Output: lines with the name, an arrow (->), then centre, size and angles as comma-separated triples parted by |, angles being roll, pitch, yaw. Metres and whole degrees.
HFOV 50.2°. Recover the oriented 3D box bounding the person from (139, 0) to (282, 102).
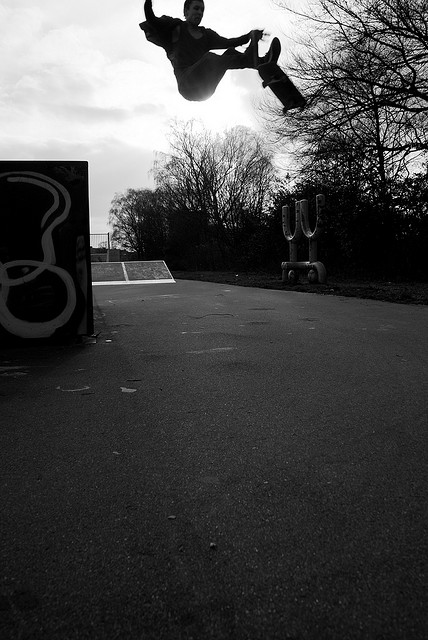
person -> -0.110, -3.702, 6.007 | 1.592, 1.061, 1.264 | -1, 3, -5
